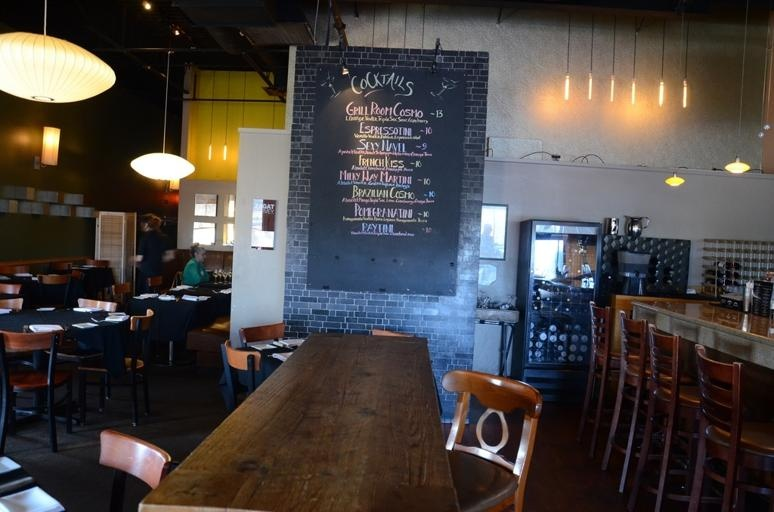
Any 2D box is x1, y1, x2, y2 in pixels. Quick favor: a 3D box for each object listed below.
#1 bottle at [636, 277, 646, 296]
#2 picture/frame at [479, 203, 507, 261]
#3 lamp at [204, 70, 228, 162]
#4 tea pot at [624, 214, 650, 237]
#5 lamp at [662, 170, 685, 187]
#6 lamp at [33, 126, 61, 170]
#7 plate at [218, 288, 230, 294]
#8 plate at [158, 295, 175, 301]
[{"bbox_3d":[3.770,0.442,9.441,0.128,0.294,0.523,2,2,29],"label":"bottle"},{"bbox_3d":[1.598,-0.361,9.595,0.406,0.849,0.083,0,2,-10],"label":"picture/frame"},{"bbox_3d":[-4.031,-3.205,14.825,0.479,1.934,0.489,0,2,-9],"label":"lamp"},{"bbox_3d":[3.812,-0.442,9.671,0.406,0.330,0.229,0,2,-26],"label":"tea pot"},{"bbox_3d":[4.221,-1.153,9.365,0.283,0.192,0.286,-1,-8,9],"label":"lamp"},{"bbox_3d":[-6.326,-2.028,11.739,0.195,0.820,0.426,1,2,16],"label":"lamp"},{"bbox_3d":[-2.727,0.601,10.579,0.181,0.095,0.500,0,2,-11],"label":"plate"},{"bbox_3d":[-3.368,0.658,9.643,0.154,0.061,0.110,1,1,-9],"label":"plate"}]
